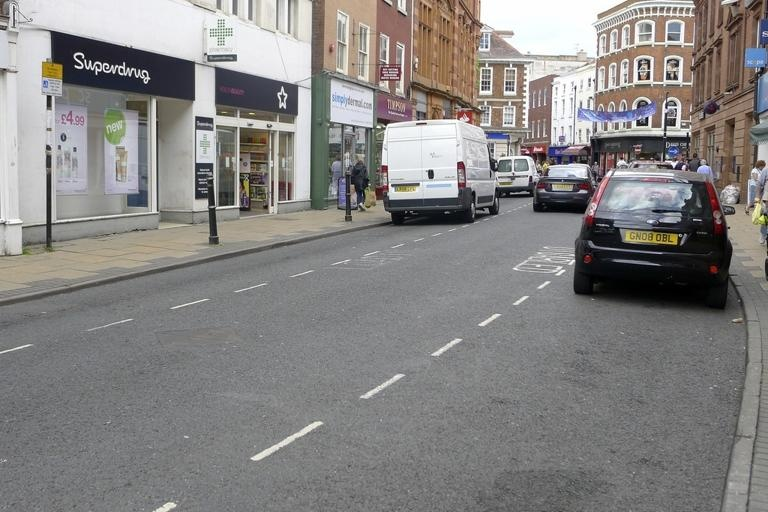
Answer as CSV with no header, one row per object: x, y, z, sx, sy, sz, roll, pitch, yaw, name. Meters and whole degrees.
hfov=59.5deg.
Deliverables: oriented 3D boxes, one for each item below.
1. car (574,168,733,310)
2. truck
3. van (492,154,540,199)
4.539,-0.394,11.333,1.510,1.391,2.738,2,13,22,car
2.088,-3.200,22.890,2.307,2.368,4.558,0,11,20,truck
7.592,-4.308,38.513,2.234,2.213,4.206,-1,12,18,van
